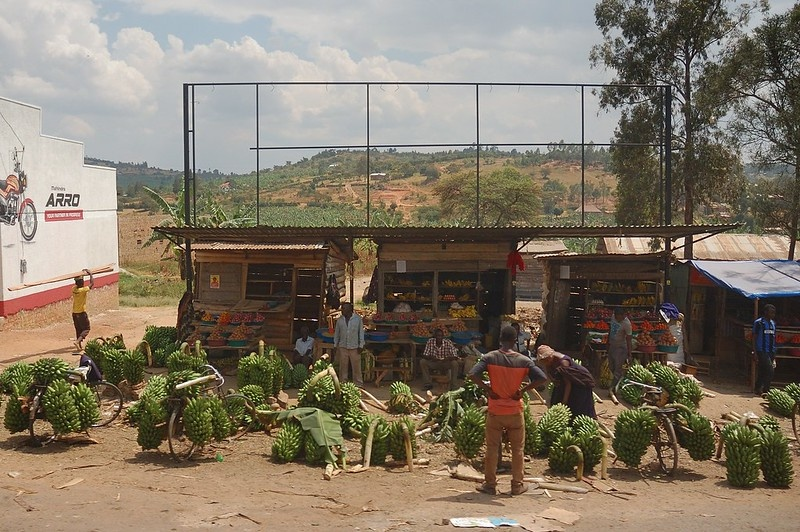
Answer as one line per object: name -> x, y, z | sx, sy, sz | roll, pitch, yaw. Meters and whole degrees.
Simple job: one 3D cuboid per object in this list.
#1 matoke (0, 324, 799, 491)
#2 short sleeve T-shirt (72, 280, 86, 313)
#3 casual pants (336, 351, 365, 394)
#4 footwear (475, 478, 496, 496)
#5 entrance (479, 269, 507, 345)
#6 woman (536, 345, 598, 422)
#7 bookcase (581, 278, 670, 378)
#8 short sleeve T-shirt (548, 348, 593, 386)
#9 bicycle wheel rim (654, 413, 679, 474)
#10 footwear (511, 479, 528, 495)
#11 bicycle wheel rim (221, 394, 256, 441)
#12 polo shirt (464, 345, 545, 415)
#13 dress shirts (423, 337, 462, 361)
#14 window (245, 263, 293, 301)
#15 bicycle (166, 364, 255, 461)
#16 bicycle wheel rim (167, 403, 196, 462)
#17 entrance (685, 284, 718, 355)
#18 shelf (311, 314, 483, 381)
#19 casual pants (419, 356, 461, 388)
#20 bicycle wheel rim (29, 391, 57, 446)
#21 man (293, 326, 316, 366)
matoke -> 0.682, 3.364, 14.787 | 11.255, 2.372, 6.427 | 0, -3, 2
short sleeve T-shirt -> -9.310, 0.962, 20.750 | 0.390, 0.822, 0.796 | 1, -1, -26
casual pants -> -1.314, 2.523, 18.702 | 0.633, 1.516, 0.413 | 7, 23, 3
footwear -> 1.633, 4.241, 13.651 | 0.183, 0.172, 0.401 | 1, 4, -33
entrance -> 2.796, 1.214, 21.456 | 1.199, 2.155, 2.242 | 0, 0, -1
woman -> 3.548, 2.600, 15.235 | 1.185, 1.655, 0.821 | -3, 2, 4
bookcase -> 6.392, 1.177, 20.863 | 2.178, 3.163, 2.571 | -7, -27, 26
short sleeve T-shirt -> 3.603, 2.210, 14.981 | 0.812, 0.293, 0.644 | 25, -13, 18
bicycle wheel rim -> 5.542, 3.784, 15.110 | 0.298, 1.242, 1.247 | 4, 3, 33
footwear -> 2.314, 4.220, 13.692 | 0.181, 0.299, 0.440 | 3, 10, 31
bicycle wheel rim -> -3.571, 3.219, 15.451 | 0.690, 0.890, 0.704 | -2, 8, -34
polo shirt -> 2.030, 2.252, 13.693 | 1.495, 1.191, 0.588 | 1, -6, 6
dress shirts -> 1.086, 2.408, 19.134 | 0.906, 0.620, 0.560 | -1, -12, 3
window -> -4.337, 0.537, 23.224 | 1.138, 1.061, 0.367 | 2, -5, -7
bicycle -> -4.035, 3.082, 14.947 | 0.867, 1.587, 2.522 | 7, 4, 25
bicycle wheel rim -> -4.497, 3.340, 14.687 | 0.569, 1.167, 0.964 | 0, -1, -17
entrance -> 9.571, 1.761, 22.632 | 0.846, 2.182, 0.204 | 3, -14, 13
shelf -> -0.007, 2.176, 20.303 | 3.152, 1.134, 2.350 | 0, 5, 2
casual pants -> 1.038, 2.810, 19.038 | 0.834, 1.019, 0.858 | 0, -25, 4
bicycle wheel rim -> -7.477, 3.092, 14.674 | 0.806, 1.036, 0.286 | 14, 3, 27
man -> -2.759, 2.323, 20.374 | 0.583, 1.374, 0.803 | -3, -43, -1
